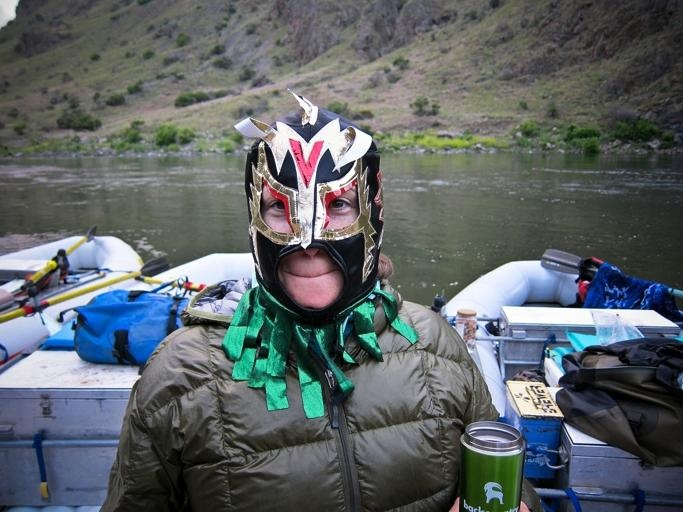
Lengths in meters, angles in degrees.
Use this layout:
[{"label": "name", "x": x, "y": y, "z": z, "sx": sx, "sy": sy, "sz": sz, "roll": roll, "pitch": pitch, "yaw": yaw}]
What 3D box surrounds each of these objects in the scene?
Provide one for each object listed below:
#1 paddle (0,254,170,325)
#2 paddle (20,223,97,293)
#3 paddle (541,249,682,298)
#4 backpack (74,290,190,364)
[{"label": "paddle", "x": -3.100, "y": 0.430, "z": 7.361, "sx": 0.518, "sy": 0.352, "sz": 2.981, "roll": 1, "pitch": 9, "yaw": 30}, {"label": "paddle", "x": -3.501, "y": 0.142, "z": 7.658, "sx": 0.318, "sy": 0.430, "sz": 1.449, "roll": -4, "pitch": 31, "yaw": 20}, {"label": "paddle", "x": 3.727, "y": 0.259, "z": 8.155, "sx": 0.371, "sy": 0.381, "sz": 2.033, "roll": 36, "pitch": -10, "yaw": -28}, {"label": "backpack", "x": -1.794, "y": 0.702, "z": 5.029, "sx": 0.818, "sy": 0.332, "sz": 0.717, "roll": 4, "pitch": 44, "yaw": 4}]
